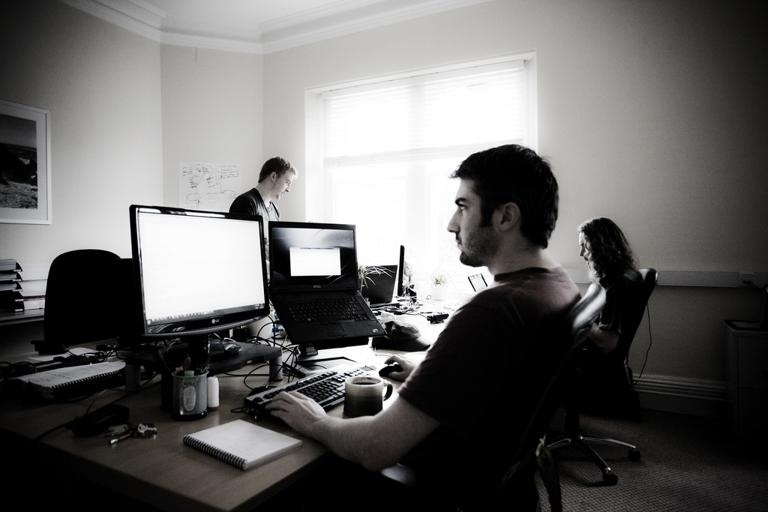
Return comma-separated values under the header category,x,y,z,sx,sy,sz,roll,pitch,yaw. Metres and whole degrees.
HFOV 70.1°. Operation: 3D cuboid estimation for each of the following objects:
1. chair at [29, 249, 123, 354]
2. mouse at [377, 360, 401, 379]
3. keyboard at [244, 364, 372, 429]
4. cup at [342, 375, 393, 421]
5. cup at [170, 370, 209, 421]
category,x,y,z,sx,sy,sz,roll,pitch,yaw
chair,-1.963,0.294,3.522,0.471,0.608,1.041,-5,8,-25
mouse,0.032,0.599,2.928,0.116,0.067,0.056,-23,-31,0
keyboard,-0.346,0.643,2.737,0.644,0.241,0.094,-6,27,-25
cup,-0.070,0.669,2.599,0.216,0.146,0.150,3,-3,-36
cup,-0.914,0.662,2.676,0.185,0.205,0.210,4,5,41
